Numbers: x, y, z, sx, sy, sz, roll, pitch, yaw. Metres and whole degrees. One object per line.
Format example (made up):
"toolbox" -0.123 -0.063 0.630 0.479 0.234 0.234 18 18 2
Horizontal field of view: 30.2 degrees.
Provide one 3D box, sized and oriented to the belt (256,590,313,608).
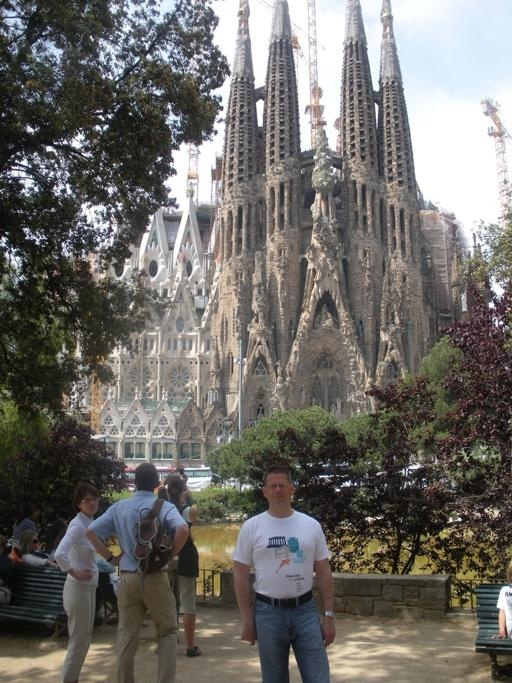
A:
"belt" 0.200 1.789 6.615 0.390 0.108 0.156 -1 -11 -1
